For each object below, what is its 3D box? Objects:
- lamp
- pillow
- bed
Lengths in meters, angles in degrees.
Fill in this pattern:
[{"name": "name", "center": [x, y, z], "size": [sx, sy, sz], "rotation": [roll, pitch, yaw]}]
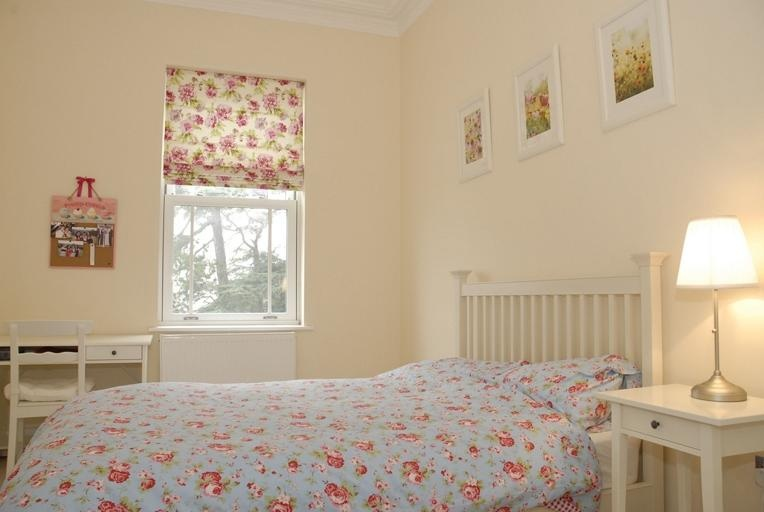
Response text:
[{"name": "lamp", "center": [1.396, 0.203, 2.272], "size": [0.285, 0.726, 0.344], "rotation": [-2, 9, -10]}, {"name": "pillow", "center": [0.925, 0.610, 2.606], "size": [0.426, 0.145, 0.351], "rotation": [-6, 11, -1]}, {"name": "bed", "center": [-0.350, 0.630, 2.965], "size": [1.621, 1.122, 1.567], "rotation": [2, -4, -38]}]
